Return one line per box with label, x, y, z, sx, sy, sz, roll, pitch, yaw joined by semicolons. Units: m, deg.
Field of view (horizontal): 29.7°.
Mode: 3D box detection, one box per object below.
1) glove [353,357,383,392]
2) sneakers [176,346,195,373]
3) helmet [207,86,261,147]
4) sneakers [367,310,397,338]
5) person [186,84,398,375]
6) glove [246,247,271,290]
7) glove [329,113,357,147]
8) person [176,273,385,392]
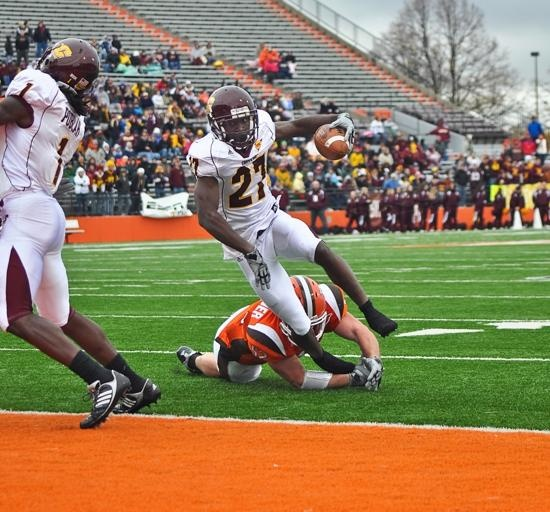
glove;0.489;0.635;5.499;0.094;0.184;0.145;22;30;-40
sneakers;-0.495;0.589;6.107;0.072;0.078;0.189;-31;53;-12
helmet;-0.230;-0.768;5.841;0.301;0.279;0.379;-6;9;-12
sneakers;0.576;0.365;5.607;0.174;0.095;0.071;34;-10;43
person;0.151;-0.170;5.848;1.351;1.478;1.178;17;31;30
glove;-0.091;0.065;5.432;0.148;0.191;0.147;4;3;3
glove;0.382;-0.785;6.295;0.225;0.170;0.159;4;7;23
person;-0.088;0.473;5.924;0.547;0.608;1.633;-25;12;-39
